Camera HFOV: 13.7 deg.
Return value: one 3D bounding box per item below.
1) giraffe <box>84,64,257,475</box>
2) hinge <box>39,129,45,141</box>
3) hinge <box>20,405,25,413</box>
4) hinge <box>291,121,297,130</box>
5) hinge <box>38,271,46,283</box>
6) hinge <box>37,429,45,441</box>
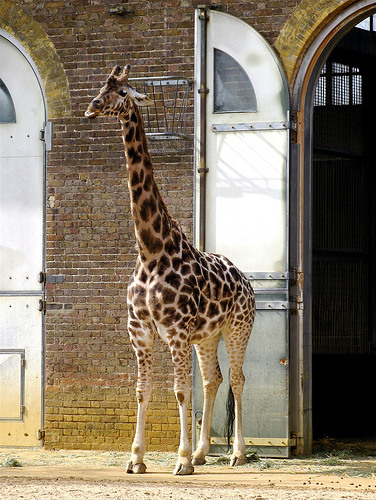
[{"bbox_3d":[-0.120,0.155,11.212,0.506,2.849,1.603,-3,-3,30],"label":"giraffe"},{"bbox_3d":[-1.197,-0.936,12.776,0.021,0.093,0.070,0,-3,-30],"label":"hinge"},{"bbox_3d":[-1.346,1.284,12.654,0.052,0.055,0.015,2,-4,-7],"label":"hinge"},{"bbox_3d":[0.841,-0.970,12.222,0.048,0.056,0.012,-2,0,-36],"label":"hinge"},{"bbox_3d":[-1.181,0.218,12.645,0.062,0.134,0.094,0,0,3],"label":"hinge"},{"bbox_3d":[-1.181,1.488,12.572,0.062,0.097,0.064,0,-3,-4],"label":"hinge"}]
